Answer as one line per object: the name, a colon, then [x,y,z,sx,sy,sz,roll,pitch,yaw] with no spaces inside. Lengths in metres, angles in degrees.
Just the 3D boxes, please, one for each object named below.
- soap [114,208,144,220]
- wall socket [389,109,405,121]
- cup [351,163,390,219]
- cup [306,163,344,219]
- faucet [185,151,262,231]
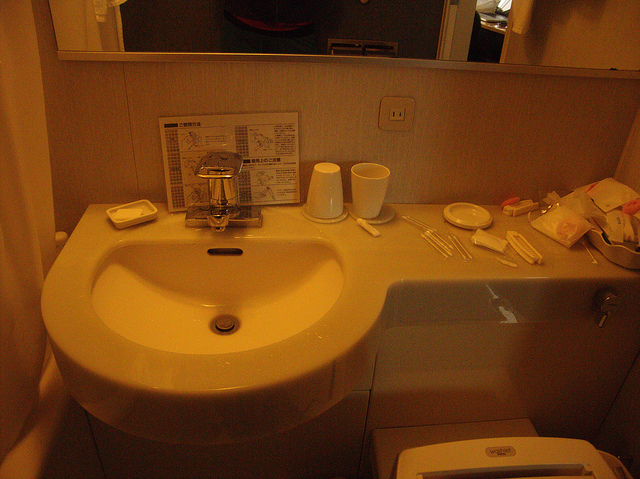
soap: [-0.516,-0.069,1.338,0.043,0.011,0.036,0,40,-8]
wall socket: [0.211,-0.344,1.363,0.034,0.038,0.004,0,45,2]
cup: [0.134,-0.138,1.424,0.122,0.153,0.130,-1,35,1]
cup: [0.019,-0.141,1.383,0.115,0.133,0.115,1,33,-1]
faucet: [-0.254,-0.116,1.376,0.193,0.177,0.207,1,35,-3]
